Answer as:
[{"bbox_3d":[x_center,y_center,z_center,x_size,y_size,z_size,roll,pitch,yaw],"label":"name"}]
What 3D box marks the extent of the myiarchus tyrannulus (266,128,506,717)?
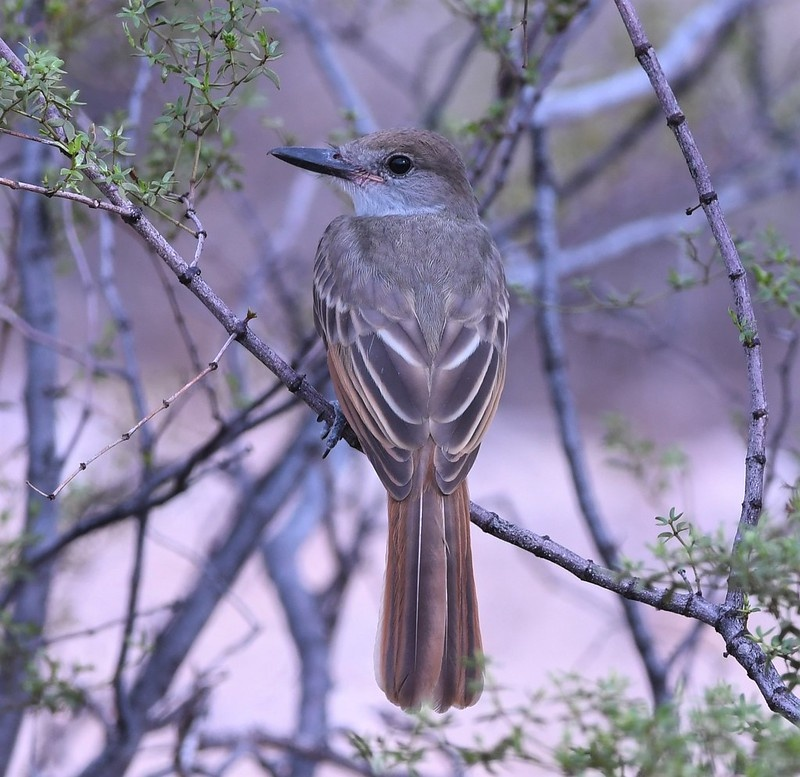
[{"bbox_3d":[-0.060,0.060,3.596,0.556,1.988,0.672,6,-32,-17],"label":"myiarchus tyrannulus"}]
